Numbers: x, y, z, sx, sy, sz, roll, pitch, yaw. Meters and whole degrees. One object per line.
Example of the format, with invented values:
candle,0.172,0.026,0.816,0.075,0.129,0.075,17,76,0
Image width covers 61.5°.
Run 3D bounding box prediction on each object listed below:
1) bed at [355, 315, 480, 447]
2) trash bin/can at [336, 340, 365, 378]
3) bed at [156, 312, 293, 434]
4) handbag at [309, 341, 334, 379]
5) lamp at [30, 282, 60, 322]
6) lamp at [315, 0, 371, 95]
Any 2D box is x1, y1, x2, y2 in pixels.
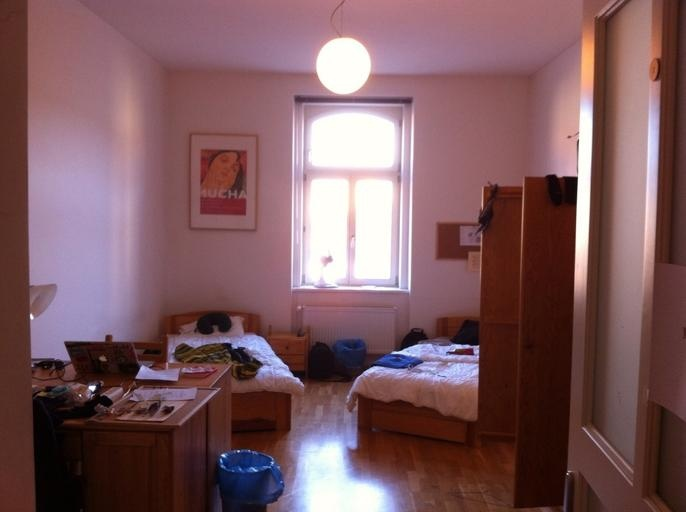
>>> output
bed,0.646,1.042,4.831,0.662,0.600,1.101,1,-1,14
trash bin/can,0.077,1.048,5.988,0.262,0.337,0.337,-2,4,7
bed,-0.816,0.898,5.052,0.788,0.767,1.385,0,0,-2
handbag,-0.208,1.044,5.987,0.266,0.522,0.347,0,0,-2
lamp,-1.467,0.225,2.759,0.155,0.172,0.119,4,8,23
lamp,0.002,-1.346,4.016,0.362,0.360,0.271,0,8,-3
